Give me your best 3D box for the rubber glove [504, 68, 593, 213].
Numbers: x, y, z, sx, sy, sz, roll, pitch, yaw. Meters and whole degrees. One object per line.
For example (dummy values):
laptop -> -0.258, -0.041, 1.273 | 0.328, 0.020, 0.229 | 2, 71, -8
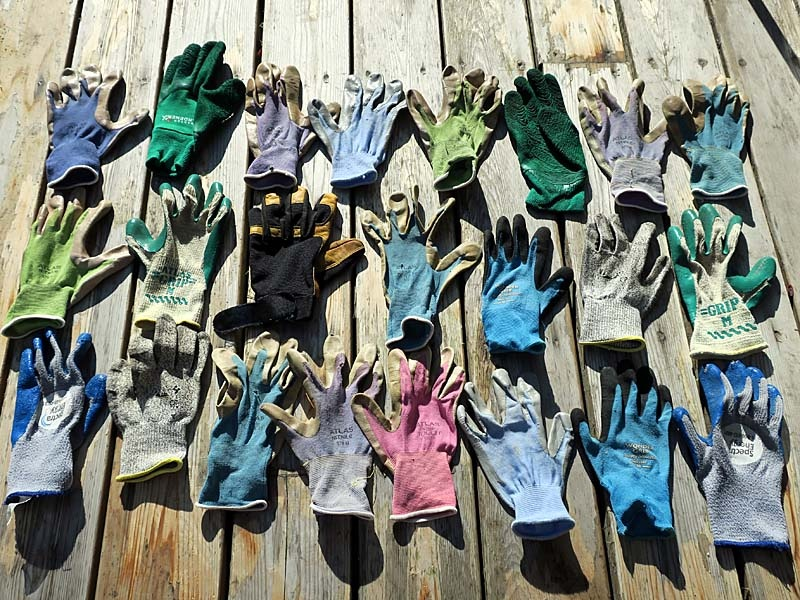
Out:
rubber glove -> 0.673, -0.705, 3.418 | 0.256, 0.176, 0.761 | -3, 78, 7
